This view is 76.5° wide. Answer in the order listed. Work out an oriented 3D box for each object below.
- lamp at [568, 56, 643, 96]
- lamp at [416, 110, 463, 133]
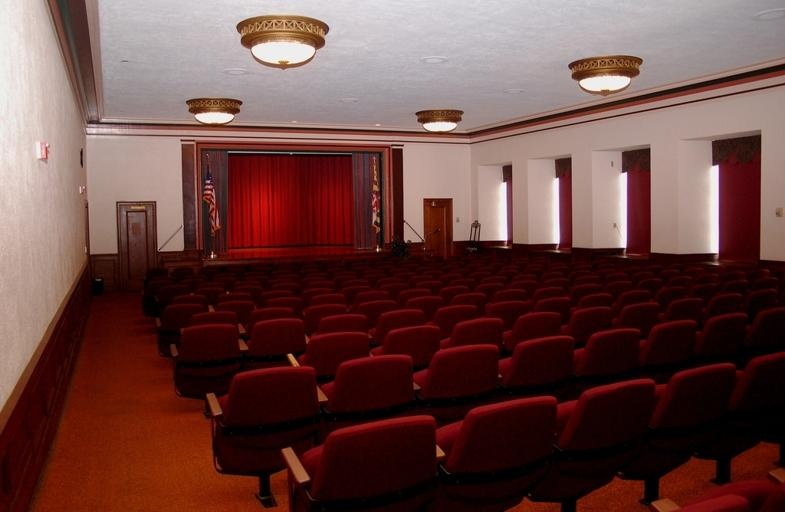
[{"bbox_3d":[4.068,-3.471,9.495,0.860,0.329,0.853,-2,5,-2],"label":"lamp"},{"bbox_3d":[1.315,-3.763,13.723,0.795,0.278,0.791,1,6,24],"label":"lamp"}]
